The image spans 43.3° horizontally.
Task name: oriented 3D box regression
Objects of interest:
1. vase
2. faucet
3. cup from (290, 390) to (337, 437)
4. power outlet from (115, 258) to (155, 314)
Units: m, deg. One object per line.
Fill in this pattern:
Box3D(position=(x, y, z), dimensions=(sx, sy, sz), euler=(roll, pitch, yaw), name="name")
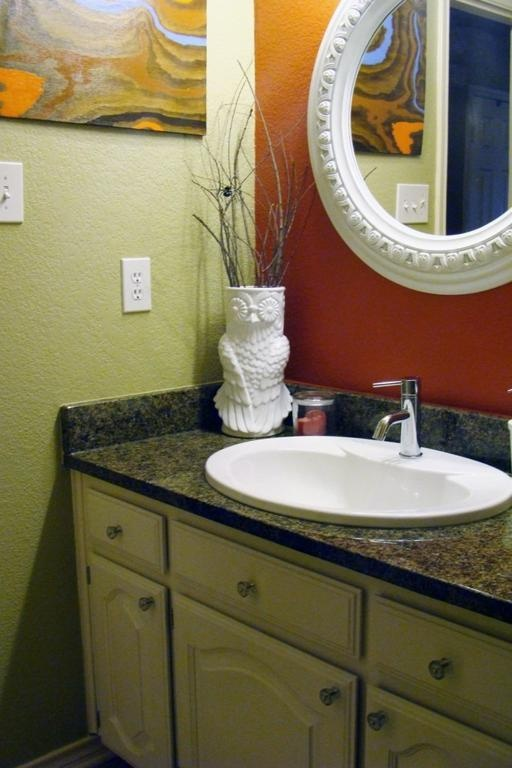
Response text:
Box3D(position=(-0.007, -0.047, 1.372), dimensions=(0.166, 0.313, 0.120), euler=(-1, 12, -4), name="vase")
Box3D(position=(0.240, 0.058, 1.078), dimensions=(0.071, 0.137, 0.179), euler=(5, 13, 22), name="faucet")
Box3D(position=(0.121, 0.056, 1.363), dimensions=(0.084, 0.086, 0.085), euler=(0, 12, 0), name="cup")
Box3D(position=(-0.249, -0.205, 1.350), dimensions=(0.011, 0.114, 0.078), euler=(10, 16, 41), name="power outlet")
